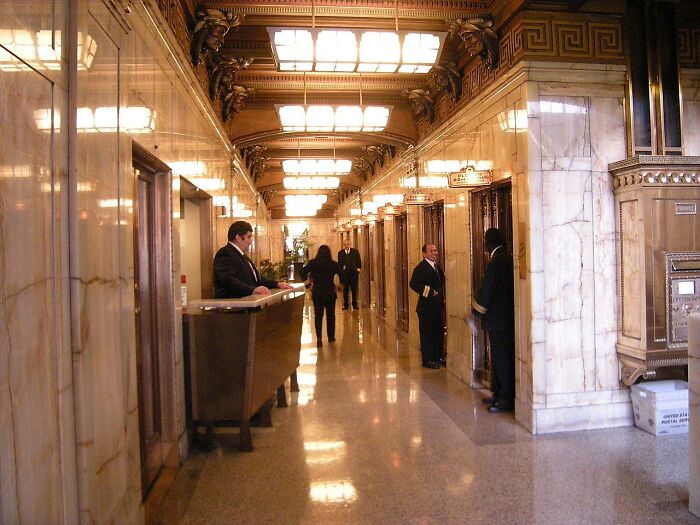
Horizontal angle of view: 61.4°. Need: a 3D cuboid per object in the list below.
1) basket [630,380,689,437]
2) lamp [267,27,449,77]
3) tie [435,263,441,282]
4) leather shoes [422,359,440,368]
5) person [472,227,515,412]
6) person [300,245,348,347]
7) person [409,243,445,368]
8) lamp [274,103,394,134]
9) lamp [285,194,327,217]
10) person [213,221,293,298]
[{"bbox_3d":[3.062,1.413,5.897,0.508,0.509,0.647,0,2,-2],"label":"basket"},{"bbox_3d":[0.097,-2.243,6.284,1.811,0.423,0.315,5,16,9],"label":"lamp"},{"bbox_3d":[1.288,0.159,8.530,0.049,0.198,0.139,-5,5,0],"label":"tie"},{"bbox_3d":[1.199,1.496,8.664,0.279,0.125,0.107,-3,2,1],"label":"leather shoes"},{"bbox_3d":[1.611,0.646,6.588,0.440,2.019,0.328,-1,4,8],"label":"person"},{"bbox_3d":[-0.484,0.581,10.851,0.692,1.808,1.442,-1,4,-2],"label":"person"},{"bbox_3d":[1.196,0.640,8.622,0.331,1.810,0.676,2,5,41],"label":"person"},{"bbox_3d":[-0.232,-2.037,8.343,1.530,0.321,1.007,-2,5,-5],"label":"lamp"},{"bbox_3d":[-1.385,-1.808,18.368,0.962,0.259,0.956,0,-6,1],"label":"lamp"},{"bbox_3d":[-1.058,-0.029,6.062,0.690,0.771,1.172,-1,4,3],"label":"person"}]
